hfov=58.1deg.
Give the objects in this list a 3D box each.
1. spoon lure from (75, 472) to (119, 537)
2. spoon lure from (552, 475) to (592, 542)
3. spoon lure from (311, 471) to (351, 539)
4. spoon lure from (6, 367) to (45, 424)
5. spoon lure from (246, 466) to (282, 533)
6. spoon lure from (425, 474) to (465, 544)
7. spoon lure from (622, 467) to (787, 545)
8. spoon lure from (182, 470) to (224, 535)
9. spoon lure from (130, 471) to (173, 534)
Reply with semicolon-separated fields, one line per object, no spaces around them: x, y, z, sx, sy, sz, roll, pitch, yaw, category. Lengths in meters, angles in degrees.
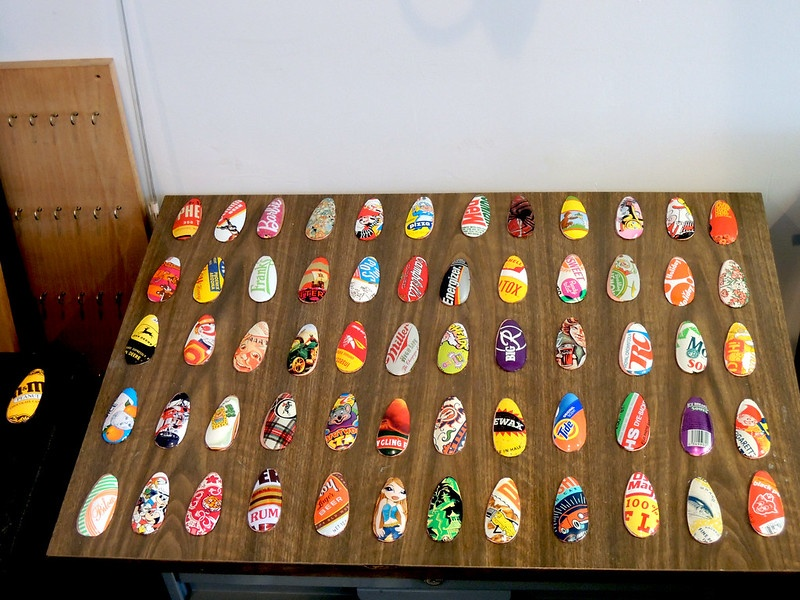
-0.487;0.330;1.161;0.045;0.012;0.091;18;63;1;spoon lure
0.265;0.325;1.131;0.057;0.117;0.012;-5;18;0;spoon lure
-0.108;0.325;1.155;0.060;0.021;0.106;-18;39;8;spoon lure
-0.670;0.170;1.291;0.045;0.013;0.084;5;66;14;spoon lure
-0.219;0.322;1.161;0.048;0.020;0.137;-4;35;-8;spoon lure
0.069;0.330;1.140;0.057;0.063;0.067;-1;29;3;spoon lure
0.479;0.316;1.101;0.180;0.016;0.104;-7;75;4;spoon lure
-0.312;0.327;1.158;0.052;0.018;0.112;14;44;-3;spoon lure
-0.401;0.328;1.160;0.049;0.017;0.105;17;45;-11;spoon lure
